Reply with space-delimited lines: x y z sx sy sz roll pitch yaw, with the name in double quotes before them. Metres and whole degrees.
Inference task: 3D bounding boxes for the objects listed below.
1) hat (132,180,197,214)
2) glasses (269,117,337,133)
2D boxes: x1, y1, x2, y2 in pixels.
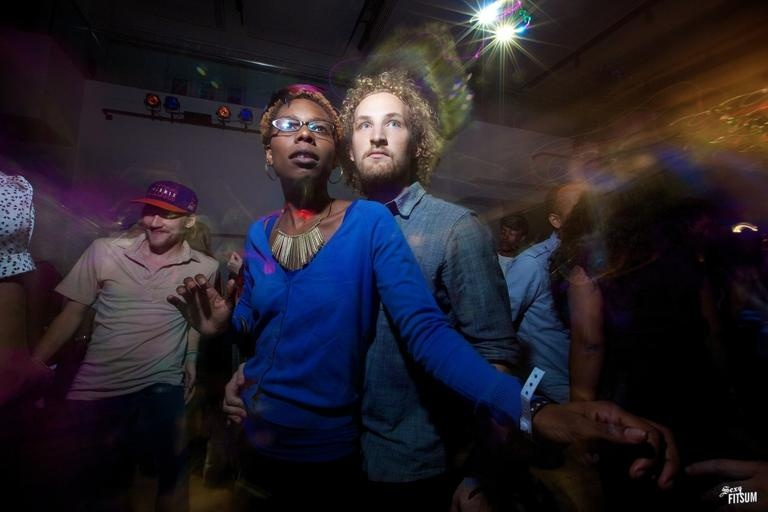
"hat" -2.348 -0.628 5.175 0.400 0.270 0.531 17 -4 26
"glasses" -0.626 -0.980 3.672 0.467 0.112 0.073 2 5 -7
